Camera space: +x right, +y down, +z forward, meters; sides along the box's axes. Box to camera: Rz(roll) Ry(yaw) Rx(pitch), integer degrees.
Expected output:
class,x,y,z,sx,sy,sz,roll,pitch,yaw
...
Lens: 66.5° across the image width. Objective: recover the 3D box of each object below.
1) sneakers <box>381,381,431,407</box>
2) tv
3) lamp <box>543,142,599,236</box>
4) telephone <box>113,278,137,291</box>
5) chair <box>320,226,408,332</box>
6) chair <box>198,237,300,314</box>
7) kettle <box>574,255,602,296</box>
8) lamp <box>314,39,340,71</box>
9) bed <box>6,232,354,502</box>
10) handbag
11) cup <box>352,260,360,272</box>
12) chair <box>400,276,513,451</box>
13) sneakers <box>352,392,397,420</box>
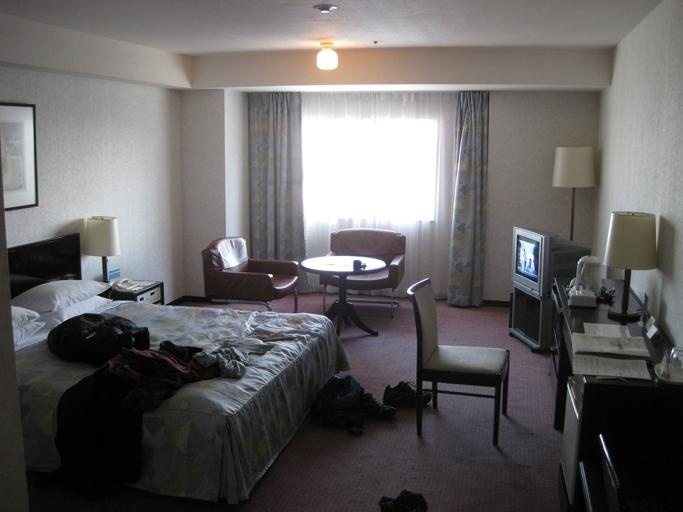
class,x,y,z,sx,sy,sz,roll,pitch,yaw
sneakers,0.526,1.140,4.389,0.369,0.188,0.210,0,-3,2
tv,2.302,0.078,5.653,0.838,0.673,0.891,2,10,21
lamp,2.789,-0.730,6.291,0.462,1.144,0.581,6,14,25
telephone,-2.318,0.314,5.579,0.135,0.053,0.141,4,12,8
chair,0.380,0.313,6.937,1.228,1.422,1.156,2,8,17
chair,-1.043,0.103,6.482,1.053,1.179,0.862,2,9,17
kettle,1.965,0.178,4.106,0.219,0.366,0.234,2,-3,-4
lamp,-0.180,-2.215,5.810,0.282,0.325,0.292,0,11,12
bed,-1.442,0.827,4.075,2.491,0.939,2.079,5,14,19
handbag,-1.782,0.586,3.741,0.476,0.185,0.420,3,9,9
cup,0.157,0.106,5.777,0.086,0.115,0.085,0,2,0
chair,0.906,0.772,3.978,0.700,1.088,0.618,0,8,18
sneakers,0.256,1.197,4.238,0.374,0.168,0.137,1,6,29
